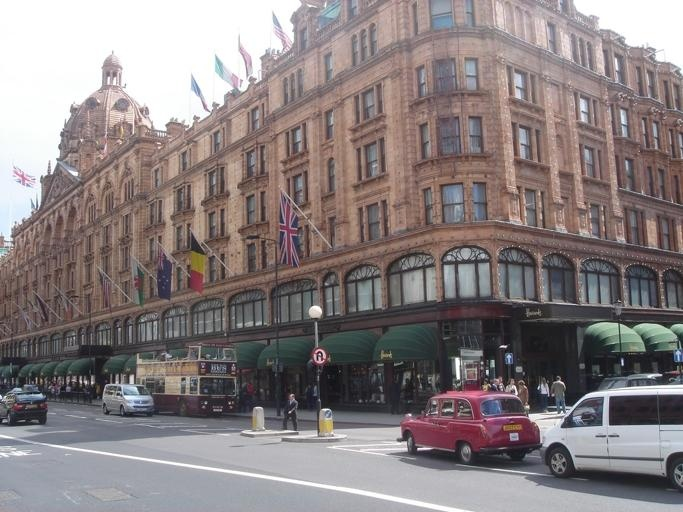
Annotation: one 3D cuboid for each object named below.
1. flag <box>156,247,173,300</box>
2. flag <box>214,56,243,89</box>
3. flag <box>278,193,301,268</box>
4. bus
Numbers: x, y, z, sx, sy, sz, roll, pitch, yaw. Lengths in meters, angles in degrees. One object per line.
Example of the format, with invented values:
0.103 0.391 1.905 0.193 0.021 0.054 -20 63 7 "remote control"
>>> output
-15.270 1.456 68.754 1.023 4.734 1.621 5 -17 -21 "flag"
-9.913 -15.515 68.959 1.235 2.289 3.006 -6 -17 16 "flag"
-3.673 -2.000 55.037 1.760 6.294 0.249 17 33 33 "flag"
-11.293 9.435 59.067 4.458 5.223 11.352 11 -20 -35 "bus"
